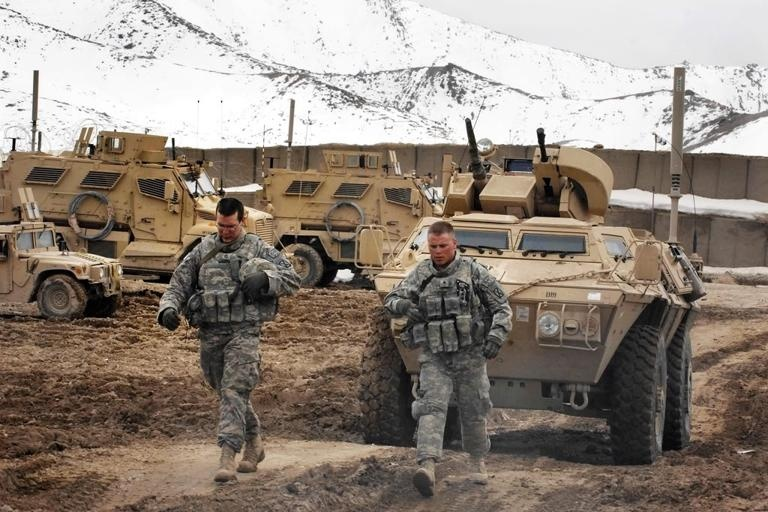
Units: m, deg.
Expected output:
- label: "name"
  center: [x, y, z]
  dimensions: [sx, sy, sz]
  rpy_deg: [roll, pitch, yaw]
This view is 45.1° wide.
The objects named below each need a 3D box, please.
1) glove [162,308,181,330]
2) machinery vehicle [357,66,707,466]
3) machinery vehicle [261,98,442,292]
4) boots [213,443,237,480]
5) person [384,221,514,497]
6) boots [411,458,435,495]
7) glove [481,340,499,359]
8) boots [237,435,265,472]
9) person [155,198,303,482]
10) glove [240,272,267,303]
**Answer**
- label: "glove"
  center: [-1.955, 0.577, 8.497]
  dimensions: [0.185, 0.189, 0.147]
  rpy_deg: [1, 1, -36]
- label: "machinery vehicle"
  center: [2.411, 0.146, 12.114]
  dimensions: [3.051, 4.680, 5.186]
  rpy_deg: [-2, -1, 32]
- label: "machinery vehicle"
  center: [-0.492, -1.259, 21.244]
  dimensions: [4.333, 4.108, 2.992]
  rpy_deg: [4, 5, 13]
- label: "boots"
  center: [-1.460, 1.915, 8.608]
  dimensions: [0.167, 0.355, 0.524]
  rpy_deg: [-3, -7, -1]
- label: "person"
  center: [0.633, 0.979, 8.826]
  dimensions: [1.098, 1.968, 0.587]
  rpy_deg: [2, 1, -1]
- label: "boots"
  center: [0.404, 2.087, 8.684]
  dimensions: [0.137, 0.422, 0.281]
  rpy_deg: [-2, 38, 9]
- label: "glove"
  center: [0.999, 0.859, 8.589]
  dimensions: [0.162, 0.137, 0.119]
  rpy_deg: [1, 1, -29]
- label: "boots"
  center: [-1.297, 1.897, 8.948]
  dimensions: [0.140, 0.296, 0.423]
  rpy_deg: [-8, 6, 23]
- label: "person"
  center: [-1.457, 0.763, 8.768]
  dimensions: [1.225, 2.605, 0.637]
  rpy_deg: [2, 1, -5]
- label: "glove"
  center: [-1.212, 0.288, 8.711]
  dimensions: [0.252, 0.267, 0.149]
  rpy_deg: [2, 1, -12]
